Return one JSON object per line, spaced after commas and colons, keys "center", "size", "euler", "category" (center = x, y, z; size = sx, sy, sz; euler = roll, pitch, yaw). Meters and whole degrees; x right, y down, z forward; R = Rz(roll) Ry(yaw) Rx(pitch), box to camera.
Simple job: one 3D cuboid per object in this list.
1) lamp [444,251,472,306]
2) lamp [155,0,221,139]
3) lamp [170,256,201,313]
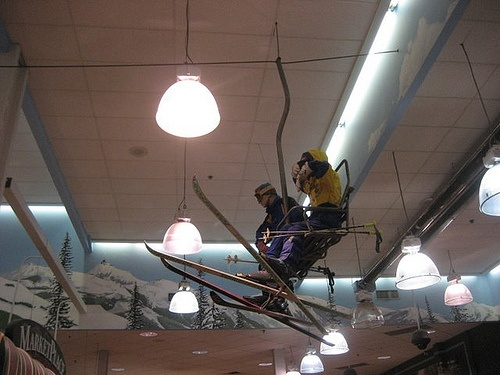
{"center": [4.852, 2.143, 9.609], "size": [0.571, 1.245, 0.565], "euler": [-8, -29, 13], "category": "lamp"}
{"center": [-0.705, -1.031, 4.528], "size": [0.524, 0.943, 0.518], "euler": [-31, -42, 31], "category": "lamp"}
{"center": [-1.430, 2.358, 8.685], "size": [0.611, 0.648, 0.631], "euler": [5, -15, -19], "category": "lamp"}
